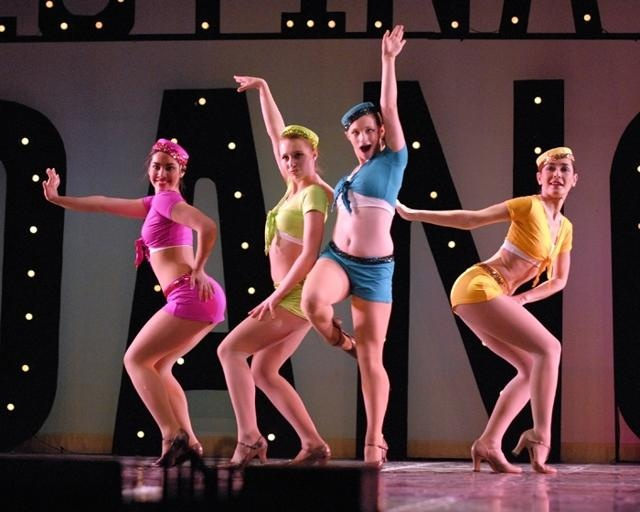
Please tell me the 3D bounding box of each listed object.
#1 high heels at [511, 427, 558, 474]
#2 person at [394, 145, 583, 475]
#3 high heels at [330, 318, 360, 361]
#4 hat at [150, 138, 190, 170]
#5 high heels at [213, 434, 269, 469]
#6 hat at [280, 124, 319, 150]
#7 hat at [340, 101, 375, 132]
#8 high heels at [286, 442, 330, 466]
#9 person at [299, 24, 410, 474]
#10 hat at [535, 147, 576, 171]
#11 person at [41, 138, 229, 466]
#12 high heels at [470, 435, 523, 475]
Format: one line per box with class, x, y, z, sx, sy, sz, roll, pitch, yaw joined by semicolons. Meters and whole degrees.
high heels;1.206;1.081;3.935;0.221;0.236;0.113;1;2;42
person;1.076;0.300;4.151;0.718;1.896;0.620;1;2;30
high heels;0.137;0.464;3.965;0.101;0.081;0.323;18;-24;29
hat;-0.926;-0.609;4.337;0.196;0.123;0.230;32;1;-2
high heels;-0.425;1.092;3.904;0.203;0.181;0.279;0;2;17
hat;-0.113;-0.700;4.072;0.193;0.076;0.187;13;-4;-42
hat;0.208;-0.791;3.969;0.195;0.098;0.198;-38;0;-1
high heels;-0.063;1.108;3.942;0.241;0.113;0.092;-3;-5;7
person;0.190;-0.082;3.767;0.523;2.327;0.412;0;2;7
hat;1.384;-0.594;4.246;0.169;0.081;0.194;-10;-7;-4
person;-0.916;0.235;4.190;1.008;1.905;0.541;1;2;41
high heels;0.967;1.143;3.980;0.366;0.221;0.127;6;-10;-8
